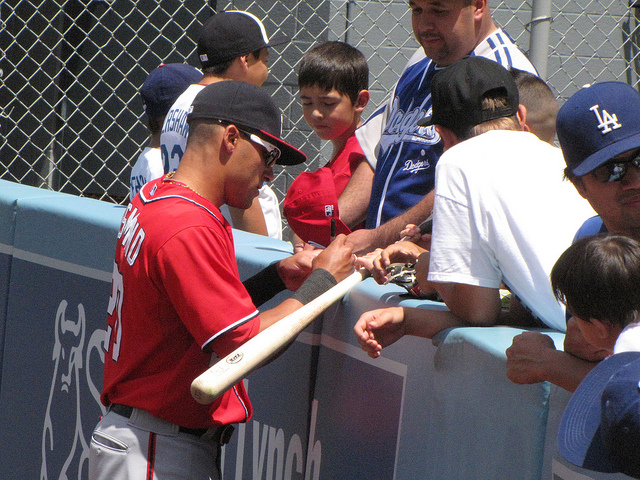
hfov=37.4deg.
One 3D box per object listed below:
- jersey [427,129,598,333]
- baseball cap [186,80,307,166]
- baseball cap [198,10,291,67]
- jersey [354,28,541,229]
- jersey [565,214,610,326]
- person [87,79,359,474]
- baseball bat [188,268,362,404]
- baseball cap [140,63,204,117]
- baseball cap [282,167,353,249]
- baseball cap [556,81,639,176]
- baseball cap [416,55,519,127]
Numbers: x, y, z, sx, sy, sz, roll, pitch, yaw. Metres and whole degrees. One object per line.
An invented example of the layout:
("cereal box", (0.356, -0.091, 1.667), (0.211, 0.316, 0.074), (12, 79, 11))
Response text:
("jersey", (0.664, 0.025, 3.680), (0.723, 0.709, 0.274), (-5, -16, -24))
("baseball cap", (-0.284, -0.505, 3.941), (0.546, 0.290, 0.393), (14, -3, -7))
("baseball cap", (-0.455, -1.101, 5.256), (0.398, 0.210, 0.257), (-22, 12, -15))
("jersey", (0.653, -0.407, 4.743), (0.533, 1.337, 1.488), (-5, 3, -8))
("jersey", (0.995, 0.096, 3.630), (0.264, 0.367, 0.133), (-1, 0, -7))
("person", (-0.386, 0.188, 4.024), (0.891, 2.278, 1.006), (-8, 31, -27))
("baseball bat", (-0.165, 0.375, 3.700), (1.094, 0.118, 0.122), (-31, -18, -39))
("baseball cap", (-0.941, -0.914, 5.659), (0.385, 0.216, 0.262), (-32, 26, -15))
("baseball cap", (0.000, -0.150, 4.631), (0.194, 0.436, 0.265), (-24, 43, -2))
("baseball cap", (1.033, -0.419, 3.488), (0.253, 0.210, 0.359), (-27, 9, 7))
("baseball cap", (0.601, -0.623, 3.930), (0.339, 0.251, 0.449), (-17, 11, -24))
